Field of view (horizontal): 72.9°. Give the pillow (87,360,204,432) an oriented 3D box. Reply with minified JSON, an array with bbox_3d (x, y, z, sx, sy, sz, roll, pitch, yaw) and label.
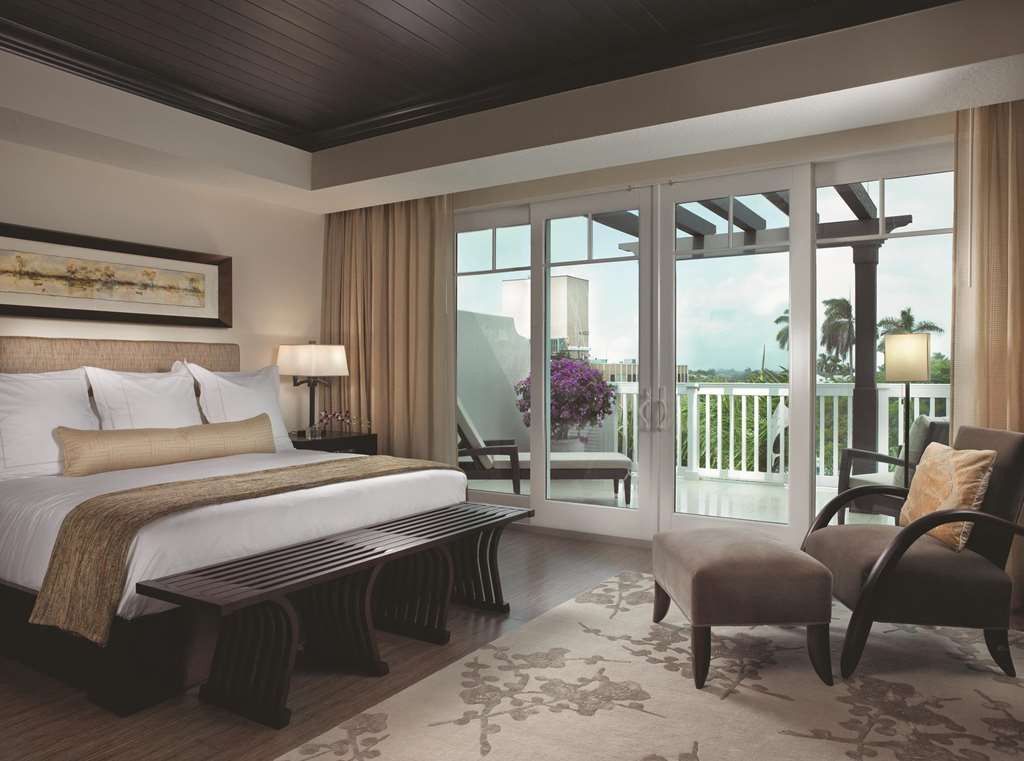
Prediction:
[{"bbox_3d":[-2.281,0.108,4.272,0.490,0.354,0.106,5,-36,-42],"label":"pillow"}]

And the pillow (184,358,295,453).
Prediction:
[{"bbox_3d":[-1.875,0.118,4.694,0.204,0.637,0.696,-33,-18,33],"label":"pillow"}]

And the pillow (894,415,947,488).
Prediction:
[{"bbox_3d":[2.410,0.422,4.057,0.135,0.354,0.346,11,-23,10],"label":"pillow"}]

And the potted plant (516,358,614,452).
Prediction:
[{"bbox_3d":[0.400,0.145,5.434,0.721,0.659,0.590,-1,0,31],"label":"potted plant"}]

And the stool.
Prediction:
[{"bbox_3d":[1.095,0.936,3.313,0.647,0.488,0.905,1,-5,2],"label":"stool"}]

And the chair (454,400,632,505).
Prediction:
[{"bbox_3d":[0.227,0.616,5.511,1.305,0.591,0.679,0,-2,8],"label":"chair"}]
